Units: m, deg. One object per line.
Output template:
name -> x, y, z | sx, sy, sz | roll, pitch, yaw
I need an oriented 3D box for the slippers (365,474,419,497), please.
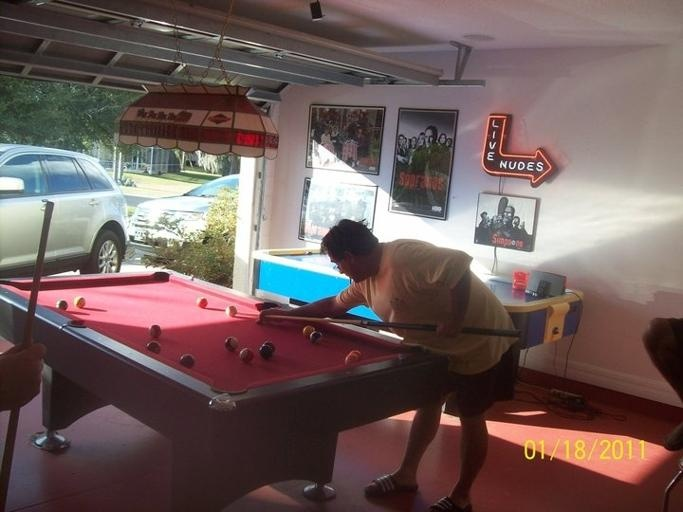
slippers -> 0.313, 1.432, 3.158 | 0.311, 0.113, 0.123 | 5, -8, -11

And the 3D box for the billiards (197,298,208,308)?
billiards -> -0.955, 0.323, 3.462 | 0.074, 0.064, 0.064 | 13, -4, 39

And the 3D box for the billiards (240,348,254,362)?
billiards -> -0.489, 0.506, 2.589 | 0.061, 0.062, 0.034 | 27, 4, 11

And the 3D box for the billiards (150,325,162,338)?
billiards -> -1.043, 0.425, 2.796 | 0.047, 0.062, 0.062 | -2, 5, 26

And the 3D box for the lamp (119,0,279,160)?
lamp -> -0.866, -0.820, 2.959 | 0.940, 0.398, 0.355 | 9, 12, 21

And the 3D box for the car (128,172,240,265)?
car -> -2.398, -0.650, 7.403 | 1.809, 0.874, 1.007 | -7, 7, -44

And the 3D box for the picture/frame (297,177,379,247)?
picture/frame -> -0.037, -0.571, 6.655 | 1.105, 0.830, 0.039 | 4, -5, -21

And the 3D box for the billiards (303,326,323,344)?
billiards -> -0.178, 0.464, 2.995 | 0.059, 0.061, 0.130 | 2, 7, -23

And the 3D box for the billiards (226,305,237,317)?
billiards -> -0.733, 0.368, 3.346 | 0.068, 0.059, 0.066 | -6, 54, -38
